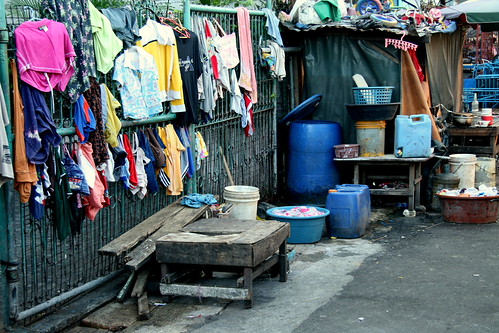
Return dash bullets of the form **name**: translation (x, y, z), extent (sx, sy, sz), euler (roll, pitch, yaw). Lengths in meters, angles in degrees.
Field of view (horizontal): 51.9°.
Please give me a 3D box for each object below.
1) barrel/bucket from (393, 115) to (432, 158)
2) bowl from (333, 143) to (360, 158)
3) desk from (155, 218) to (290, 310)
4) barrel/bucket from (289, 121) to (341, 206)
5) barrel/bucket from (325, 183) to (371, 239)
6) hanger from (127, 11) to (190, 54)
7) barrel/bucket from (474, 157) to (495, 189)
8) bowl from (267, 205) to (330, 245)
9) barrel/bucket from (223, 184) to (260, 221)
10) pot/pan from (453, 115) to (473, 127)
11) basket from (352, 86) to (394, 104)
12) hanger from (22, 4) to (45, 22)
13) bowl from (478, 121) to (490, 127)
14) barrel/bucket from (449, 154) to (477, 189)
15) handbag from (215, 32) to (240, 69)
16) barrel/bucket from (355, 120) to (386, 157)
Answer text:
- **barrel/bucket**: translation (2.933, -0.533, 9.257), extent (0.825, 0.966, 0.343), euler (0, -2, 5)
- **bowl**: translation (1.781, -0.299, 9.364), extent (0.513, 0.247, 0.269), euler (-2, 14, -6)
- **desk**: translation (-0.250, 0.980, 6.317), extent (1.066, 0.622, 1.242), euler (2, 8, 22)
- **barrel/bucket**: translation (1.170, -0.064, 9.481), extent (0.971, 1.479, 0.427), euler (0, 15, 3)
- **barrel/bucket**: translation (1.594, 0.712, 8.482), extent (0.542, 0.669, 0.938), euler (0, -1, 20)
- **hanger**: translation (-1.264, -1.799, 6.954), extent (0.258, 0.295, 0.820), euler (-14, -5, 36)
- **barrel/bucket**: translation (4.590, 0.098, 10.045), extent (0.524, 0.513, 0.531), euler (-1, 3, 0)
- **bowl**: translation (0.766, 0.969, 8.263), extent (0.902, 0.401, 0.894), euler (-2, -1, 0)
- **barrel/bucket**: translation (-0.132, 0.545, 7.962), extent (0.515, 0.473, 0.519), euler (1, 2, 0)
- **pot/pan**: translation (4.360, -0.944, 10.527), extent (0.279, 0.124, 0.291), euler (1, 0, 43)
- **basket**: translation (2.207, -1.309, 9.402), extent (0.459, 0.165, 0.479), euler (5, 7, 44)
- **hanger**: translation (-2.397, -1.696, 5.667), extent (0.175, 0.183, 0.380), euler (-6, 15, -21)
- **bowl**: translation (4.940, -0.919, 10.852), extent (0.200, 0.082, 0.152), euler (6, 1, 21)
- **barrel/bucket**: translation (3.954, 0.109, 9.925), extent (0.650, 0.819, 0.585), euler (0, -2, 6)
- **handbag**: translation (-0.369, -1.861, 8.262), extent (0.269, 0.563, 0.531), euler (7, 16, 27)
- **barrel/bucket**: translation (2.232, -0.508, 9.485), extent (0.631, 0.677, 0.615), euler (-1, -3, 0)
